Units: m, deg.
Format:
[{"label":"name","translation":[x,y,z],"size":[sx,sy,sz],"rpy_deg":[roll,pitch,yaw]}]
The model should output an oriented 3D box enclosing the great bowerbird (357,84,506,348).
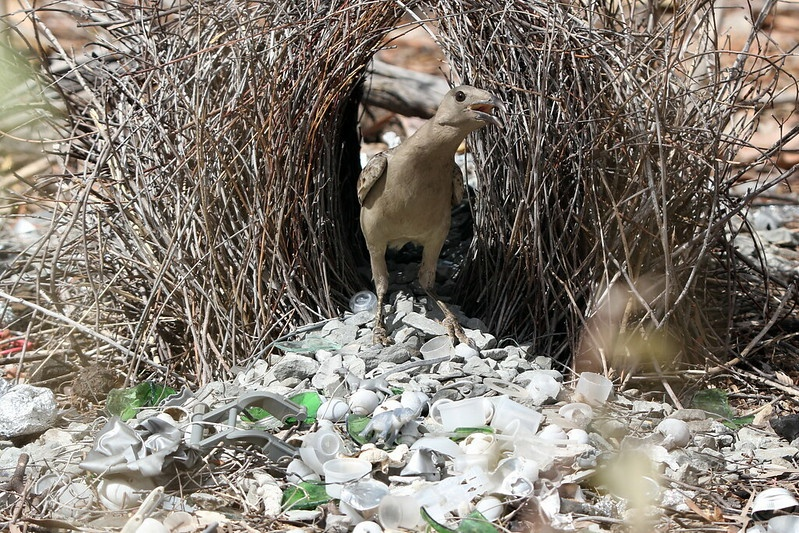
[{"label":"great bowerbird","translation":[0.089,-0.333,5.592],"size":[0.826,1.488,1.574],"rpy_deg":[7,-6,-22]}]
